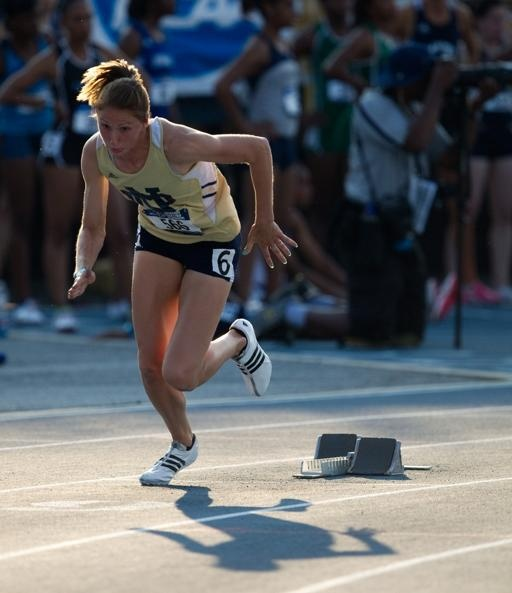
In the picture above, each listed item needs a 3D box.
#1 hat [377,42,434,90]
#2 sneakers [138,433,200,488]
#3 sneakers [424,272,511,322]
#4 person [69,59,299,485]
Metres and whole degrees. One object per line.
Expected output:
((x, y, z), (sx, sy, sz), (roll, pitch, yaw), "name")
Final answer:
((1.124, -1.643, 6.388), (0.513, 0.325, 0.206), (11, 16, 42), "hat")
((-0.318, 0.607, 3.270), (0.087, 0.085, 0.236), (16, 25, 28), "sneakers")
((0.994, 0.002, 4.314), (0.565, 0.204, 0.182), (-4, 18, -28), "sneakers")
((-0.303, -0.085, 3.359), (0.812, 1.560, 0.739), (-2, 13, -15), "person")
